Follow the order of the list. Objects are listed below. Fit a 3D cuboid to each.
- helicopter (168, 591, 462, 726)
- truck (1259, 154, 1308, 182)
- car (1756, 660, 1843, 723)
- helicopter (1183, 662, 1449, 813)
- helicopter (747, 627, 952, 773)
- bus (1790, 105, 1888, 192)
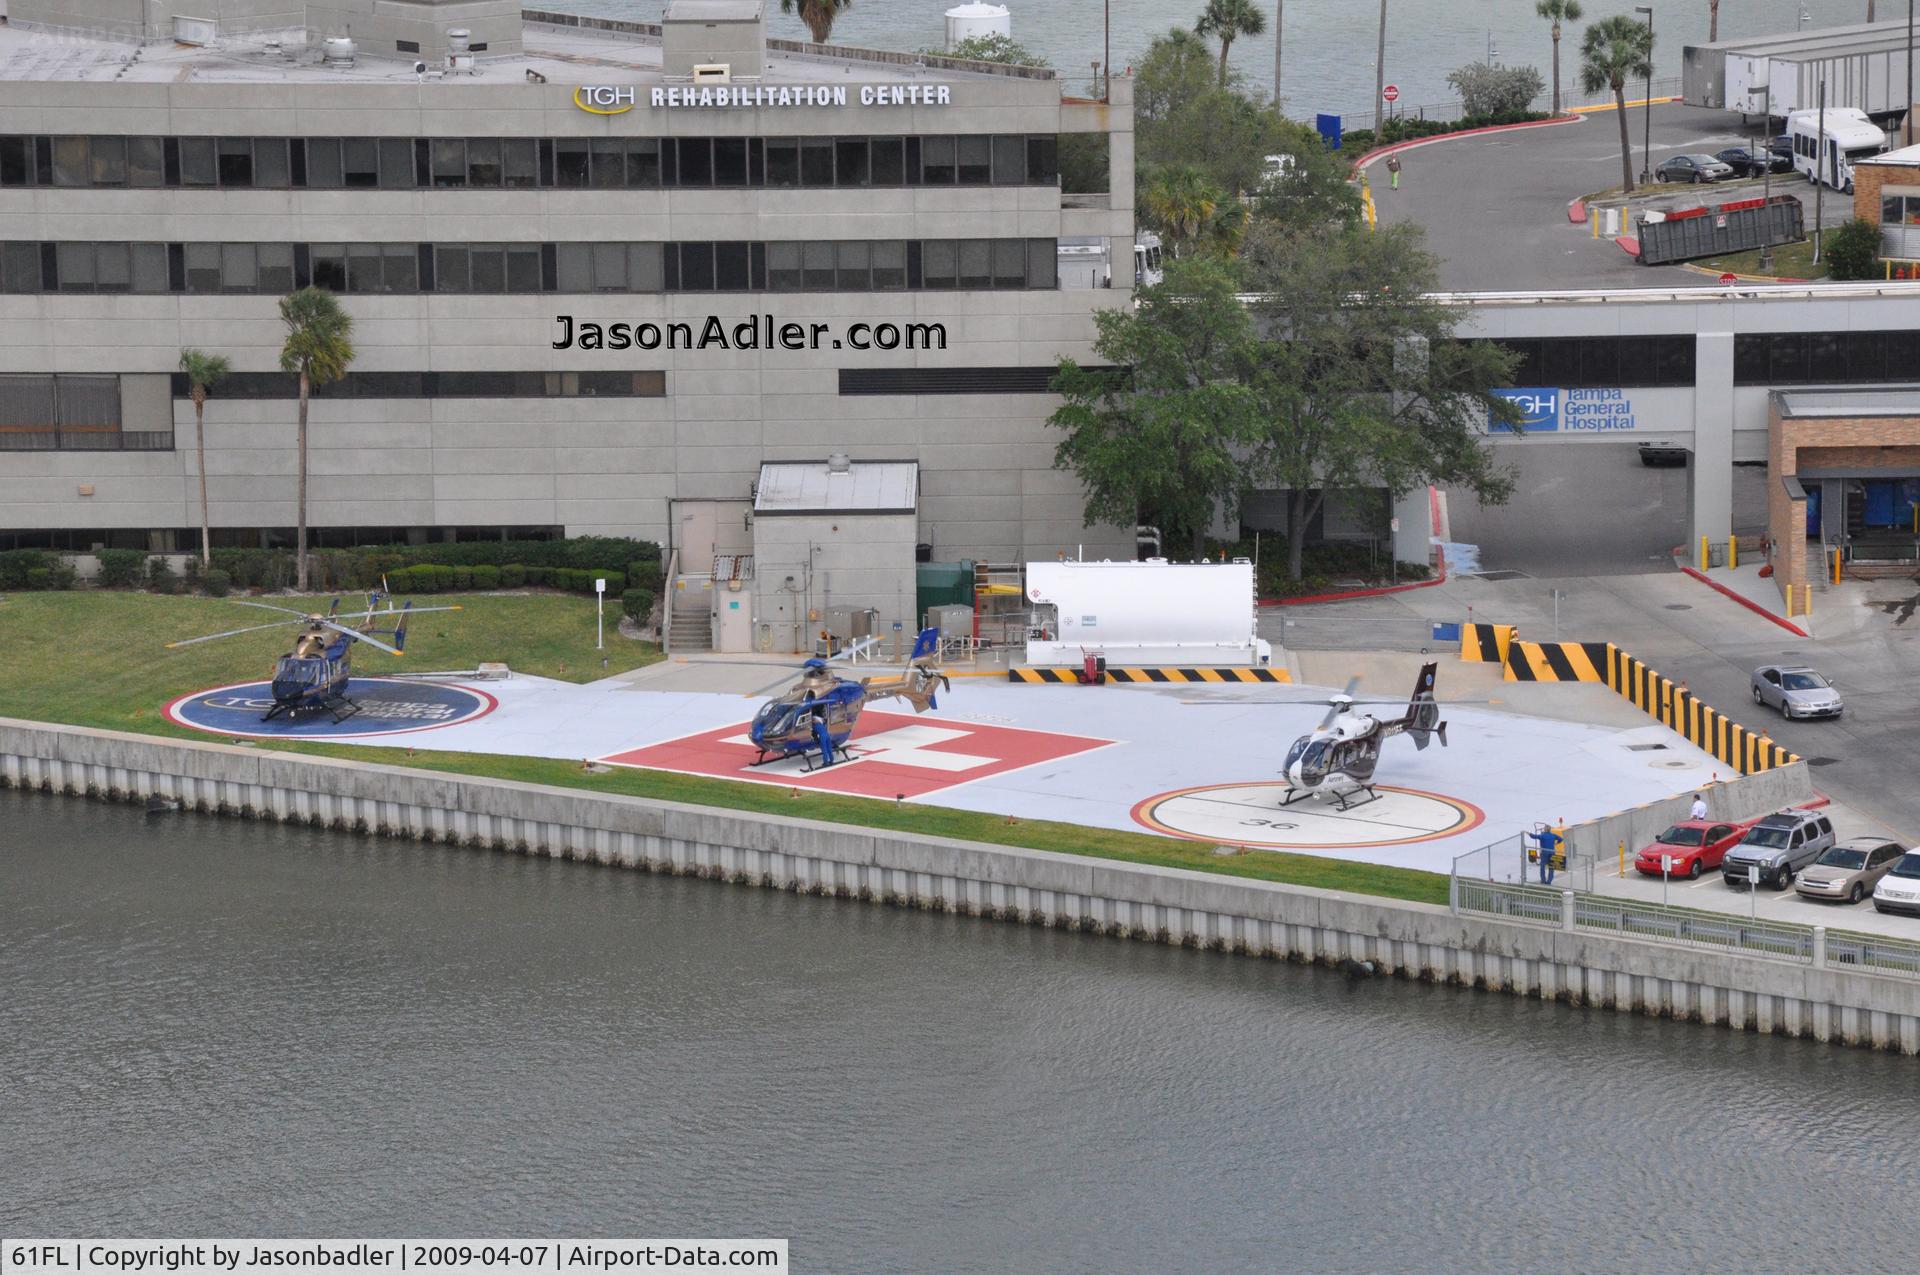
[{"bbox_3d":[-27.429,1.516,192.038,3.006,5.112,8.497,0,1,10],"label":"helicopter"},{"bbox_3d":[17.711,-26.036,248.210,2.293,0.882,2.730,0,10,5],"label":"truck"},{"bbox_3d":[35.461,2.413,189.752,2.006,2.067,3.584,-4,5,-28],"label":"car"},{"bbox_3d":[16.465,4.039,182.206,5.001,5.517,7.936,1,5,30],"label":"helicopter"},{"bbox_3d":[-4.753,2.529,189.237,10.218,5.291,4.696,-5,6,-45],"label":"helicopter"},{"bbox_3d":[48.515,-27.038,248.120,4.685,4.785,9.432,-1,4,11],"label":"bus"}]
